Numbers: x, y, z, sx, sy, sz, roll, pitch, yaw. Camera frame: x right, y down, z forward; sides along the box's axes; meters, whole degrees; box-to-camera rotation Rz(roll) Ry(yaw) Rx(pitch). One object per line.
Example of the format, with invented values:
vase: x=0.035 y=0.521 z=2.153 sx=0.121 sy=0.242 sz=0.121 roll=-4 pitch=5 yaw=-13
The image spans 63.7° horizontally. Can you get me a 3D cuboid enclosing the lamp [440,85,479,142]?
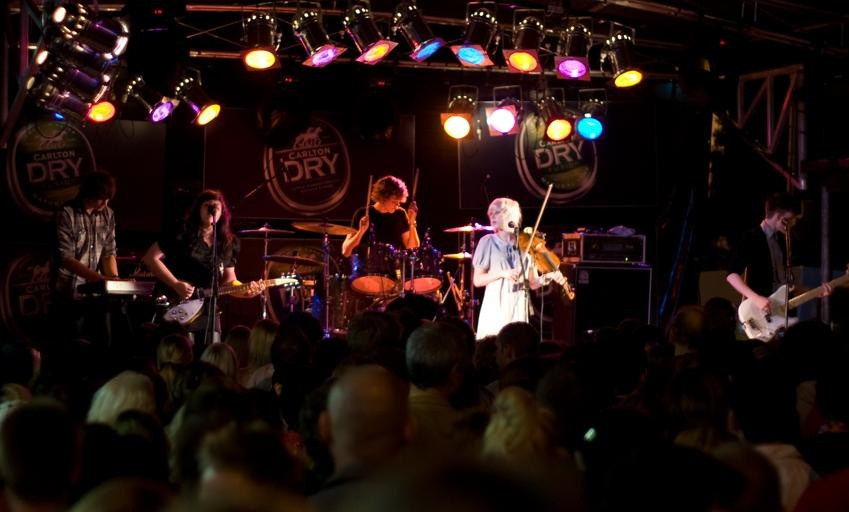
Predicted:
lamp: x=0.528 y=-2.091 z=9.820 sx=0.551 sy=0.681 sz=0.708 roll=1 pitch=6 yaw=1

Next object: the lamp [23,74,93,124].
lamp: x=-4.032 y=-1.776 z=7.658 sx=0.644 sy=0.256 sz=0.351 roll=19 pitch=-50 yaw=-33

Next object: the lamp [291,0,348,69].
lamp: x=-1.327 y=-2.802 z=8.631 sx=0.542 sy=0.926 sz=0.442 roll=-22 pitch=-26 yaw=-16

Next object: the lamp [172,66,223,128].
lamp: x=-2.892 y=-1.998 z=8.479 sx=0.312 sy=0.584 sz=0.739 roll=1 pitch=-4 yaw=28

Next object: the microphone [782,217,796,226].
microphone: x=4.353 y=-0.413 z=8.193 sx=0.180 sy=0.055 sz=0.132 roll=-12 pitch=-27 yaw=19

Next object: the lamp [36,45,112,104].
lamp: x=-3.741 y=-1.984 z=7.455 sx=0.553 sy=0.187 sz=0.563 roll=-41 pitch=-38 yaw=24

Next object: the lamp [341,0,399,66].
lamp: x=-0.653 y=-2.693 z=8.297 sx=0.635 sy=0.638 sz=0.470 roll=3 pitch=-3 yaw=-7

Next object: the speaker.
speaker: x=2.238 y=0.539 z=8.517 sx=1.097 sy=0.560 sz=0.582 roll=1 pitch=13 yaw=10

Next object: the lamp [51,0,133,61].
lamp: x=-3.435 y=-2.336 z=7.103 sx=0.534 sy=0.395 sz=0.709 roll=6 pitch=2 yaw=17

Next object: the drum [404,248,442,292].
drum: x=0.026 y=0.247 z=9.638 sx=0.619 sy=0.533 sz=0.592 roll=0 pitch=-19 yaw=2

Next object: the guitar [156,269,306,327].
guitar: x=-2.303 y=0.490 z=8.150 sx=1.186 sy=0.444 sz=0.155 roll=-5 pitch=-40 yaw=-28

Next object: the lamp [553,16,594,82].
lamp: x=1.846 y=-2.649 z=8.520 sx=0.380 sy=0.397 sz=0.326 roll=1 pitch=19 yaw=-3

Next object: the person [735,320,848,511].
person: x=2.300 y=0.993 z=4.361 sx=0.628 sy=1.017 sz=1.234 roll=0 pitch=-4 yaw=39

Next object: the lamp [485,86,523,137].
lamp: x=1.169 y=-2.119 z=9.967 sx=0.519 sy=0.652 sz=0.672 roll=-1 pitch=-1 yaw=2

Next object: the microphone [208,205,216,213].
microphone: x=-2.161 y=-0.474 z=7.026 sx=0.078 sy=0.079 sz=0.030 roll=2 pitch=-4 yaw=23

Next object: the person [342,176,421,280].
person: x=-0.614 y=-0.316 z=10.342 sx=1.266 sy=1.602 sz=1.018 roll=4 pitch=3 yaw=-15

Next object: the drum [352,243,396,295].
drum: x=-0.641 y=0.175 z=9.502 sx=0.706 sy=0.507 sz=0.686 roll=3 pitch=-29 yaw=2

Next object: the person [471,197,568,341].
person: x=1.061 y=0.386 z=8.008 sx=0.947 sy=1.974 sz=0.776 roll=2 pitch=19 yaw=4

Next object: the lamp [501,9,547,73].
lamp: x=1.246 y=-2.680 z=8.511 sx=0.480 sy=0.675 sz=0.486 roll=3 pitch=-3 yaw=8

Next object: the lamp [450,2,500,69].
lamp: x=0.651 y=-2.767 z=8.550 sx=0.643 sy=0.977 sz=0.570 roll=5 pitch=-29 yaw=7

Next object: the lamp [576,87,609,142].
lamp: x=2.473 y=-2.119 z=10.177 sx=0.397 sy=0.754 sz=0.545 roll=3 pitch=-3 yaw=10

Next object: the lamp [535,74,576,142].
lamp: x=1.887 y=-2.206 z=9.991 sx=0.603 sy=0.954 sz=0.646 roll=-3 pitch=-41 yaw=-2

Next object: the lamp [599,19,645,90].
lamp: x=2.543 y=-2.561 z=8.859 sx=0.505 sy=0.701 sz=0.564 roll=3 pitch=-3 yaw=5
